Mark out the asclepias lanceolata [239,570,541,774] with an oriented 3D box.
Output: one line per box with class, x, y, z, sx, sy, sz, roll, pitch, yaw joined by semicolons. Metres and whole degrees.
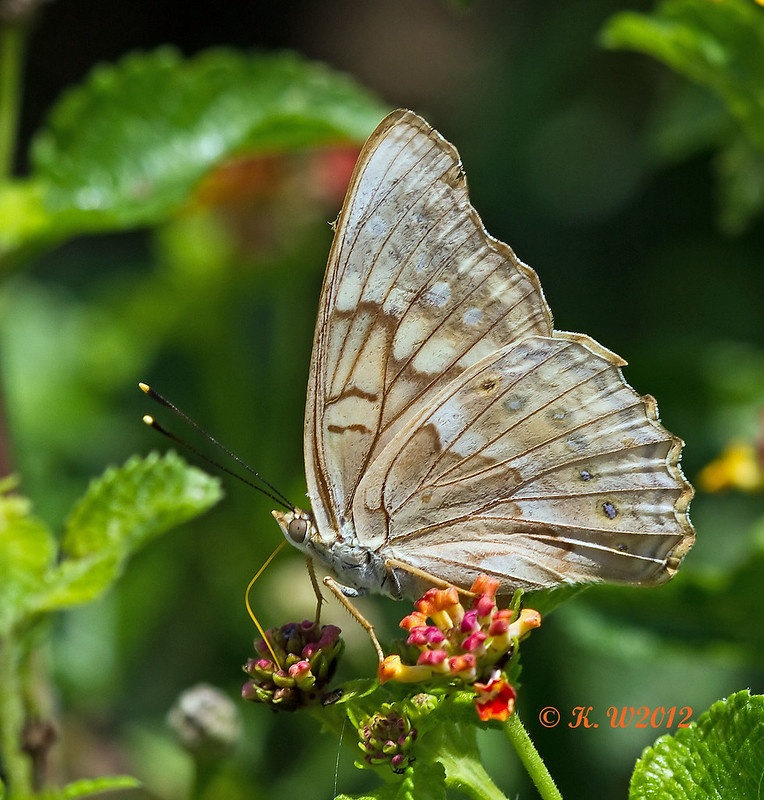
asclepias lanceolata;0.039;0.420;1.707;0.154;0.343;0.335;42;74;-28
